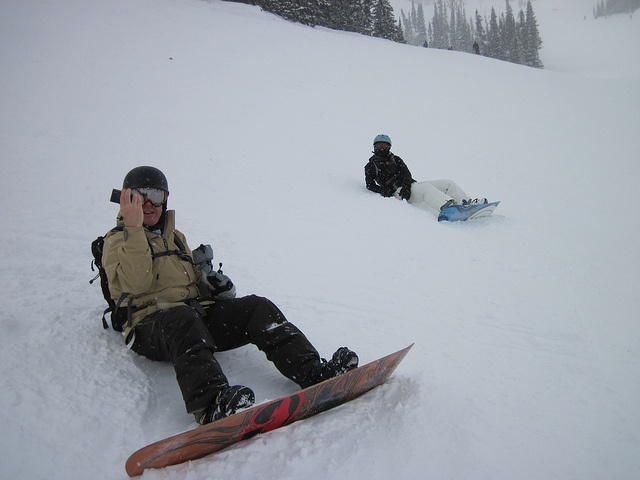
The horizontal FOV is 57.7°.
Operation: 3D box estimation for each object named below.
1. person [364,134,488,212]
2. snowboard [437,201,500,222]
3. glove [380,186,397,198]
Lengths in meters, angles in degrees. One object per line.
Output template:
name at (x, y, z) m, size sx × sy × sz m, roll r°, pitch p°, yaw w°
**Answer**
person at (1.999, -1.573, 10.846) m, size 2.336 × 1.374 × 1.121 m, roll 5°, pitch 17°, yaw -20°
snowboard at (2.536, -0.653, 9.994) m, size 1.154 × 0.378 × 0.267 m, roll -9°, pitch 20°, yaw -25°
glove at (1.227, -1.064, 10.392) m, size 0.195 × 0.103 × 0.275 m, roll -33°, pitch -25°, yaw 35°
